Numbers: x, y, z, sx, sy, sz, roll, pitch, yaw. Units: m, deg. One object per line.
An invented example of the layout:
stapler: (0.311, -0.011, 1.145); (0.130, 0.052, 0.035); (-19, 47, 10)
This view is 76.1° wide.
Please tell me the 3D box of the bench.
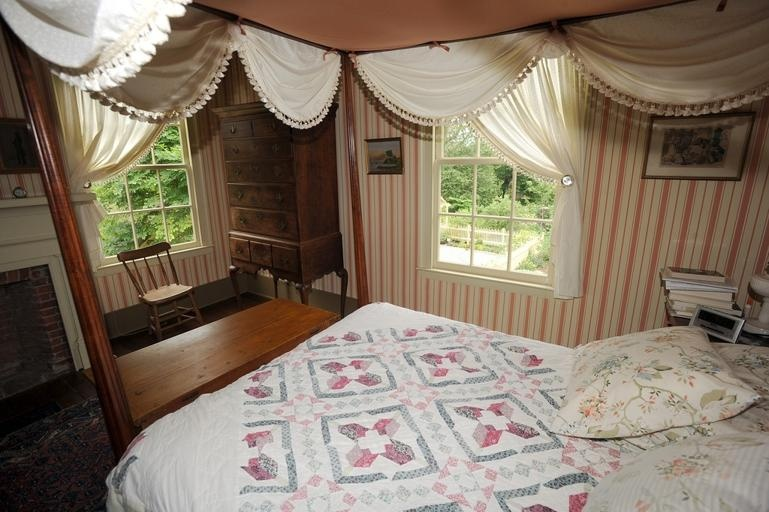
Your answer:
bench: (-1.289, 0.711, 3.575); (0.731, 0.492, 1.164); (12, 23, 31)

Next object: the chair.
chair: (-2.131, 0.353, 4.752); (0.649, 0.831, 0.621); (-12, 18, -19)

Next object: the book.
book: (2.101, 0.242, 3.280); (0.367, 0.135, 0.417); (4, 16, 19)

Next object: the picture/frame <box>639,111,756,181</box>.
picture/frame: (2.194, -0.775, 3.390); (0.520, 0.365, 0.043); (8, 18, 28)
